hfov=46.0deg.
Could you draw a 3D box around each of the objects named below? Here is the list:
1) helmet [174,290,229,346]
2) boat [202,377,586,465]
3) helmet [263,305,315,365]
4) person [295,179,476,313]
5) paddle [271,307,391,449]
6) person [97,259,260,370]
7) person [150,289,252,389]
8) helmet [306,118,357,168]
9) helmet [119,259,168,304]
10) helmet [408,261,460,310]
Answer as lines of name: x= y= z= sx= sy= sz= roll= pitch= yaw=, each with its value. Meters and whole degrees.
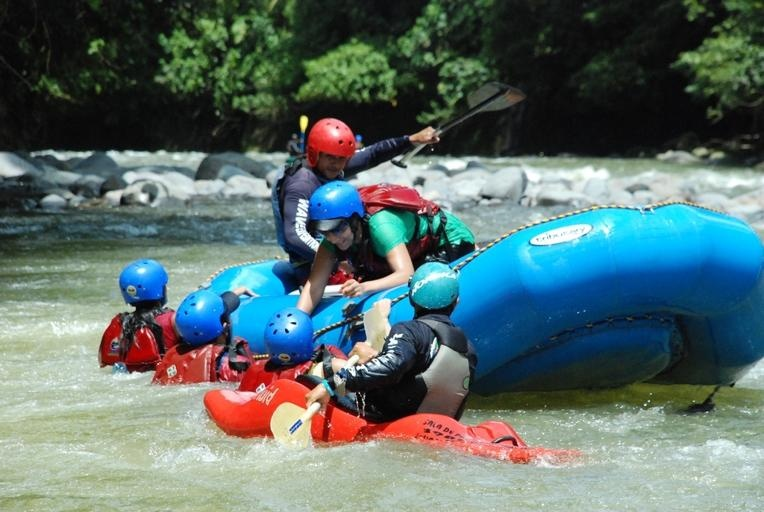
helmet: x=-1.623 y=0.531 z=7.920 sx=0.405 sy=0.430 sz=0.494 roll=4 pitch=17 yaw=33
boat: x=-0.068 y=1.287 z=6.800 sx=2.342 sy=0.329 sz=0.946 roll=1 pitch=-7 yaw=17
helmet: x=-0.785 y=0.625 z=7.373 sx=0.469 sy=0.410 sz=0.558 roll=-2 pitch=11 yaw=-2
person: x=-0.167 y=-0.211 z=7.750 sx=1.921 sy=0.728 sz=0.852 roll=-28 pitch=19 yaw=-37
paddle: x=-0.347 y=0.940 z=6.897 sx=0.308 sy=1.045 sz=1.051 roll=51 pitch=4 yaw=20
person: x=-1.969 y=0.517 z=8.427 sx=0.862 sy=0.735 sz=1.306 roll=5 pitch=10 yaw=32
person: x=-1.550 y=0.692 z=7.981 sx=0.775 sy=0.806 sz=1.007 roll=0 pitch=11 yaw=42
helmet: x=-0.453 y=-1.090 z=8.263 sx=0.384 sy=0.354 sz=0.458 roll=-3 pitch=30 yaw=-35
helmet: x=-2.279 y=0.299 z=8.330 sx=0.519 sy=0.456 sz=0.569 roll=-1 pitch=3 yaw=-11
helmet: x=0.391 y=0.228 z=6.744 sx=0.360 sy=0.279 sz=0.392 roll=5 pitch=21 yaw=3
